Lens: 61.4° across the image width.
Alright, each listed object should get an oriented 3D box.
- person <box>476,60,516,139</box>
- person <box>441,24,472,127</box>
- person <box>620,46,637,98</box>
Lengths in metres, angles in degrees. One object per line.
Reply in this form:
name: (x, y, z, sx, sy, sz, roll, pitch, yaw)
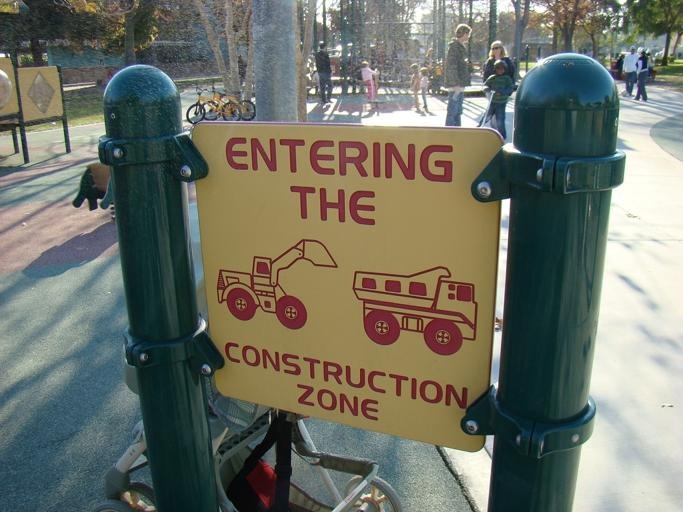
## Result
person: (2.849, -2.794, 10.537, 0.521, 1.475, 1.285, 6, 21, 15)
person: (2.323, -3.540, 11.502, 0.510, 1.976, 1.366, 4, 20, 10)
person: (10.446, -6.624, 20.660, 0.494, 1.613, 0.443, 12, 21, 36)
